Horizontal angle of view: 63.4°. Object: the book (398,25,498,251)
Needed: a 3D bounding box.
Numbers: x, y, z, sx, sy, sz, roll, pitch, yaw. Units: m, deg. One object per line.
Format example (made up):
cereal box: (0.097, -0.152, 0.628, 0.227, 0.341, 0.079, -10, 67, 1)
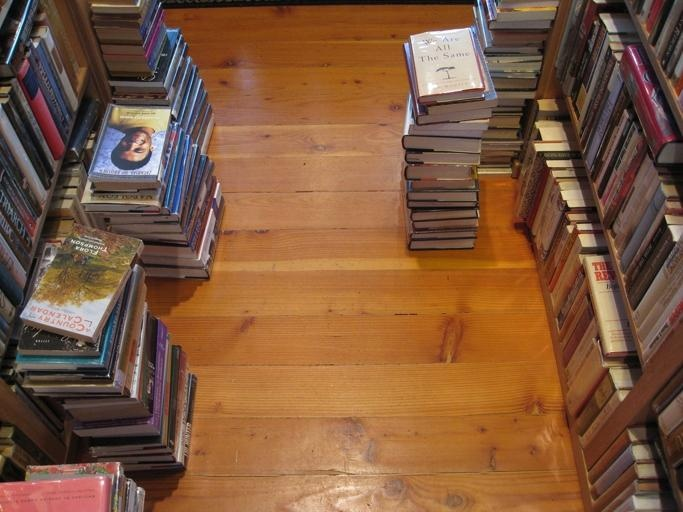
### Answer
book: (0.399, -0.415, 2.038, 0.404, 0.771, 0.752, -2, 57, 7)
